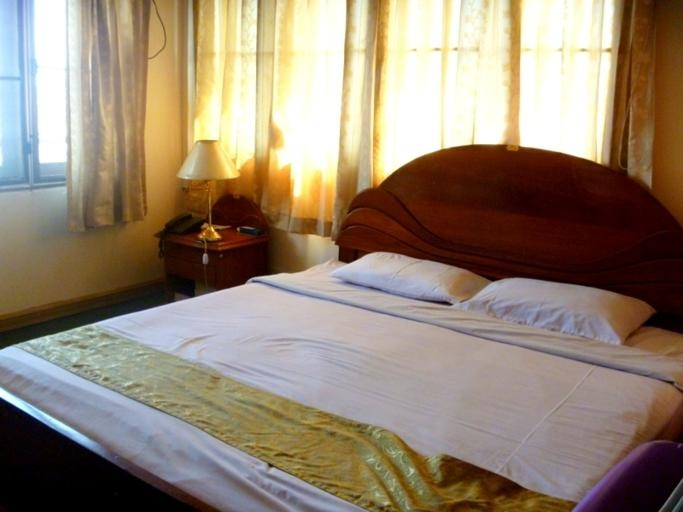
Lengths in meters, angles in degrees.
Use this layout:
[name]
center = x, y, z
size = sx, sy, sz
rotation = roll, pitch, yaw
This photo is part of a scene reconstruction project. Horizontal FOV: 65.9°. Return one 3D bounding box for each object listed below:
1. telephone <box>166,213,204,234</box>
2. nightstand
[telephone]
center = -1.188, -0.247, 4.039
size = 0.184, 0.071, 0.187
rotation = 6, 18, 32
[nightstand]
center = -0.941, -0.012, 4.008
size = 0.629, 0.555, 0.495
rotation = 12, 16, 43
